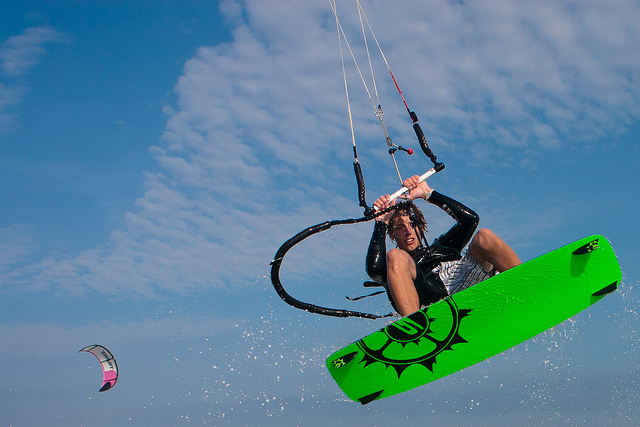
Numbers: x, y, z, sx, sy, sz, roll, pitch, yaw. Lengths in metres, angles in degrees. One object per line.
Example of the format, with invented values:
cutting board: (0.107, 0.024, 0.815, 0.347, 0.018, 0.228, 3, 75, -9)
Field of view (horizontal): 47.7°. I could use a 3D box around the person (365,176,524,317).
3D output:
person: (1.381, 0.566, 8.227, 0.939, 0.879, 1.595, -28, 39, -19)
